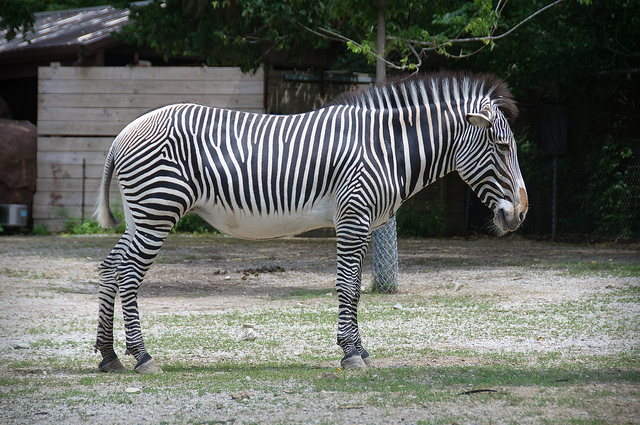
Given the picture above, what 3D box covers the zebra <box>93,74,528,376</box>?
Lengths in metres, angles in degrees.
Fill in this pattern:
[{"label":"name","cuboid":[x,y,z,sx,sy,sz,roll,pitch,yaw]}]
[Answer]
[{"label":"zebra","cuboid":[-0.169,0.159,14.340,6.814,4.463,1.765,0,-7,-6]}]
